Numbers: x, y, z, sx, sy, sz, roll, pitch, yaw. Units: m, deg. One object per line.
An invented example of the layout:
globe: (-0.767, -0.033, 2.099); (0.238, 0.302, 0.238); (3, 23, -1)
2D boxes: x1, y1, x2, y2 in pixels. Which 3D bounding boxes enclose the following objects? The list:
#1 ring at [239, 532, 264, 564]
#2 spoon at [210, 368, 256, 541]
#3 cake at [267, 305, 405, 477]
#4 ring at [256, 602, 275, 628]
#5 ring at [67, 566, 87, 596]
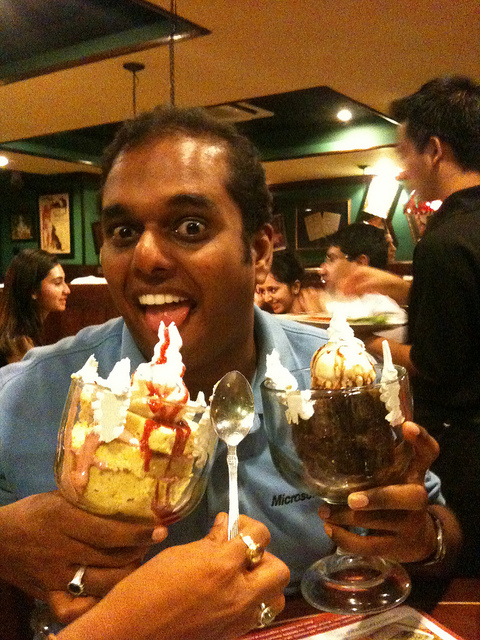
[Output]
ring: (0.018, 0.334, 0.798); (0.034, 0.043, 0.023); (-35, -3, -8)
spoon: (-0.012, 0.207, 0.876); (0.057, 0.268, 0.030); (7, -39, -15)
cake: (0.153, 0.118, 0.880); (0.217, 0.240, 0.229); (-7, 7, -25)
ring: (0.036, 0.431, 0.806); (0.028, 0.048, 0.022); (-3, 6, -2)
ring: (-0.236, 0.379, 0.806); (0.023, 0.036, 0.030); (16, -14, -43)
